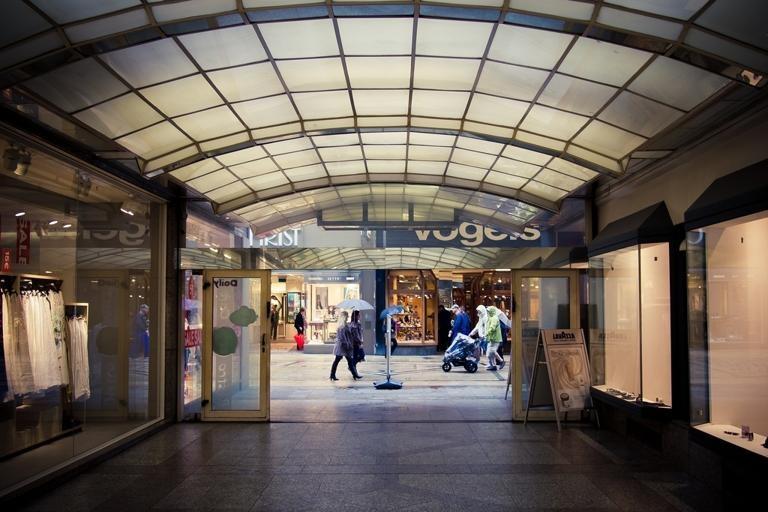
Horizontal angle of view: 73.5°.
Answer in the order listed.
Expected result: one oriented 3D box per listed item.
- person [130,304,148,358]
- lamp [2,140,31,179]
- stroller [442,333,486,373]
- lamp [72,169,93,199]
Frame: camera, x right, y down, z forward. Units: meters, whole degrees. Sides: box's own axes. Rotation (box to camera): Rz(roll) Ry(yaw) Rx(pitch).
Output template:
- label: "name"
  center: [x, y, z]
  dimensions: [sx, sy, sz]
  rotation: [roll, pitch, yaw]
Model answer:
- label: "person"
  center: [-4.555, 1.383, 9.609]
  dimensions: [0.107, 0.969, 0.351]
  rotation: [-2, -3, 27]
- label: "lamp"
  center: [-5.031, -1.318, 7.039]
  dimensions: [0.359, 0.327, 0.359]
  rotation: [32, 3, 16]
- label: "stroller"
  center: [2.699, 3.158, 17.308]
  dimensions: [1.570, 1.474, 1.081]
  rotation: [0, 1, -2]
- label: "lamp"
  center: [-4.842, -1.144, 8.231]
  dimensions: [0.145, 0.328, 0.217]
  rotation: [-3, -13, 22]
